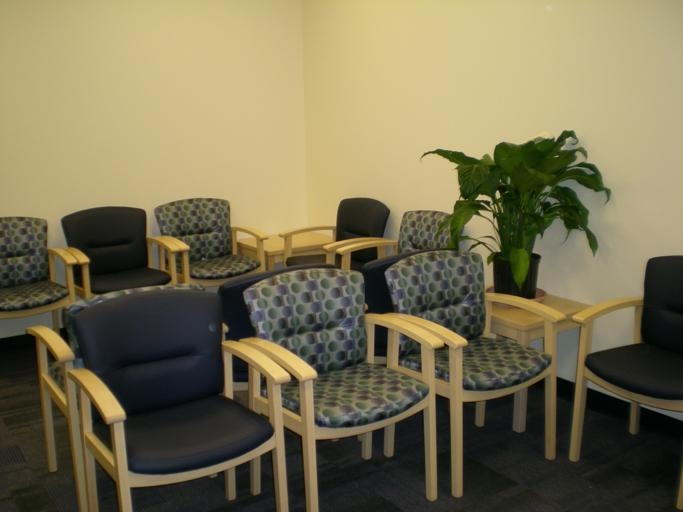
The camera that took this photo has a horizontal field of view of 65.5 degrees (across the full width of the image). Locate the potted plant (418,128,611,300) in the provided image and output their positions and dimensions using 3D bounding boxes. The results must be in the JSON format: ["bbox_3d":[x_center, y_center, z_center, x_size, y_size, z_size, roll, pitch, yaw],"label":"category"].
[{"bbox_3d":[1.211,-0.247,3.681,1.127,0.931,1.105,1,7,18],"label":"potted plant"}]
